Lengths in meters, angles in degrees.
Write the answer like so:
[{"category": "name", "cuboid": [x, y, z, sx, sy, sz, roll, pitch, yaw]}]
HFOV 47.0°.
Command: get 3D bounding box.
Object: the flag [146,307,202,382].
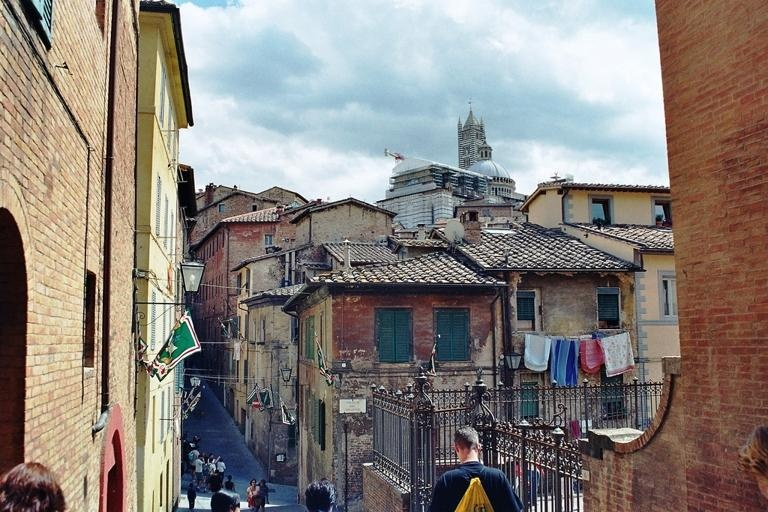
[{"category": "flag", "cuboid": [-4.243, 1.782, 17.848, 0.938, 1.405, 1.144, 2, -10, -15]}]
